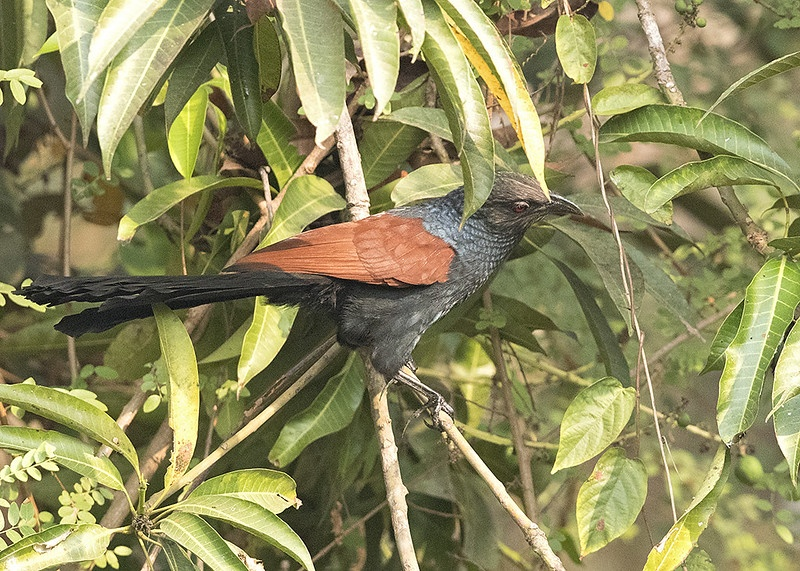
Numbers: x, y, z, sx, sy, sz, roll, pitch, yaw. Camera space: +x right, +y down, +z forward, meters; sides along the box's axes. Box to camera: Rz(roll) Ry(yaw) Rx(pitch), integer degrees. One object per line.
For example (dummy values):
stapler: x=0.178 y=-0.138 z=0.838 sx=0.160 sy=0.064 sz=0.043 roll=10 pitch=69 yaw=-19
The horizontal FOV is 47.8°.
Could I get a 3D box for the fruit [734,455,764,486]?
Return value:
fruit: x=1.580 y=0.837 z=4.071 sx=0.130 sy=0.142 sz=0.129 roll=8 pitch=3 yaw=20
